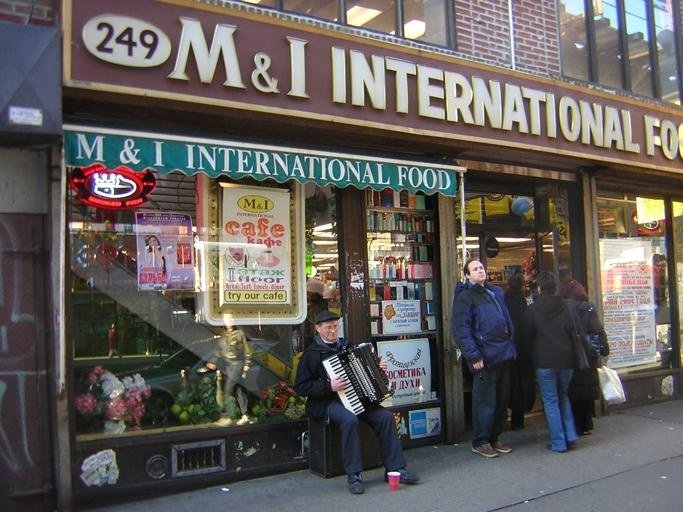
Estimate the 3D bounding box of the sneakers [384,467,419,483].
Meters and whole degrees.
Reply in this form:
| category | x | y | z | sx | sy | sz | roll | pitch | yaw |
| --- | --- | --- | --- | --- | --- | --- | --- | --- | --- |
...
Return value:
| category | x | y | z | sx | sy | sz | roll | pitch | yaw |
| --- | --- | --- | --- | --- | --- | --- | --- | --- | --- |
| sneakers | 0.637 | 2.410 | 7.422 | 0.407 | 0.180 | 0.159 | -2 | -6 | 21 |

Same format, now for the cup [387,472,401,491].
| category | x | y | z | sx | sy | sz | roll | pitch | yaw |
| --- | --- | --- | --- | --- | --- | --- | --- | --- | --- |
| cup | 0.556 | 2.386 | 7.172 | 0.151 | 0.167 | 0.158 | 0 | 1 | 0 |

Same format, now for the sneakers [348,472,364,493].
| category | x | y | z | sx | sy | sz | roll | pitch | yaw |
| --- | --- | --- | --- | --- | --- | --- | --- | --- | --- |
| sneakers | 0.155 | 2.402 | 7.158 | 0.178 | 0.144 | 0.173 | -5 | -3 | -1 |

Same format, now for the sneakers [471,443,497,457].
| category | x | y | z | sx | sy | sz | roll | pitch | yaw |
| --- | --- | --- | --- | --- | --- | --- | --- | --- | --- |
| sneakers | 1.750 | 2.355 | 8.196 | 0.121 | 0.122 | 0.280 | 0 | -3 | -43 |

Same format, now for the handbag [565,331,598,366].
| category | x | y | z | sx | sy | sz | roll | pitch | yaw |
| --- | --- | --- | --- | --- | --- | --- | --- | --- | --- |
| handbag | 2.994 | 1.232 | 8.324 | 0.536 | 0.611 | 0.188 | 7 | -11 | -26 |

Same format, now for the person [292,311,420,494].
| category | x | y | z | sx | sy | sz | roll | pitch | yaw |
| --- | --- | --- | --- | --- | --- | --- | --- | --- | --- |
| person | 0.083 | 1.567 | 7.388 | 1.104 | 1.288 | 0.549 | -6 | -3 | 22 |

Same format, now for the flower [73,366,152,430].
| category | x | y | z | sx | sy | sz | roll | pitch | yaw |
| --- | --- | --- | --- | --- | --- | --- | --- | --- | --- |
| flower | -2.440 | 1.563 | 7.280 | 0.638 | 0.682 | 0.345 | 21 | -25 | -25 |

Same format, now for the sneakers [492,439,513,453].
| category | x | y | z | sx | sy | sz | roll | pitch | yaw |
| --- | --- | --- | --- | --- | --- | --- | --- | --- | --- |
| sneakers | 1.981 | 2.351 | 8.340 | 0.122 | 0.104 | 0.239 | 2 | -8 | -27 |

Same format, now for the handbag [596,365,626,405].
| category | x | y | z | sx | sy | sz | roll | pitch | yaw |
| --- | --- | --- | --- | --- | --- | --- | --- | --- | --- |
| handbag | 3.464 | 1.560 | 8.760 | 0.204 | 0.512 | 0.401 | -11 | 25 | 23 |

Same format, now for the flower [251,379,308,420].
| category | x | y | z | sx | sy | sz | roll | pitch | yaw |
| --- | --- | --- | --- | --- | --- | --- | --- | --- | --- |
| flower | -0.750 | 1.673 | 7.932 | 0.496 | 0.299 | 0.398 | 2 | -5 | -21 |
